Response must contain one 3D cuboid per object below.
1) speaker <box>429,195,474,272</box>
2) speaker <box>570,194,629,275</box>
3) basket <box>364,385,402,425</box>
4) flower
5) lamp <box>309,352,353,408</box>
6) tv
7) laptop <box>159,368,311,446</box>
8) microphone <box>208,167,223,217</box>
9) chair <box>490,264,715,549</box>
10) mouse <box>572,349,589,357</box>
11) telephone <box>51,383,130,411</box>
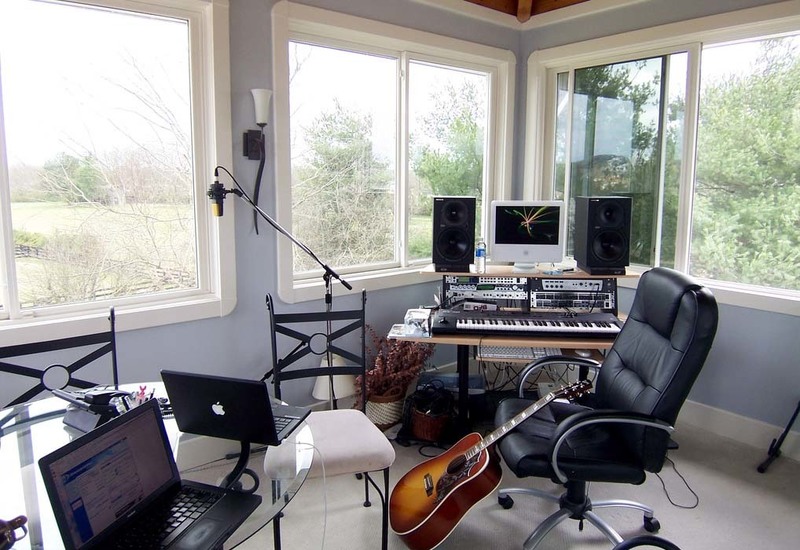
[{"bbox_3d":[0.367,-0.297,4.110,0.301,0.519,0.179,-1,13,4],"label":"speaker"},{"bbox_3d":[1.387,-0.286,4.050,0.364,0.528,0.284,2,13,19],"label":"speaker"},{"bbox_3d":[-0.113,0.927,4.176,0.276,0.255,0.270,-3,3,-45],"label":"basket"},{"bbox_3d":[-0.119,0.668,4.240,0.597,0.641,0.564,11,0,11],"label":"flower"},{"bbox_3d":[-0.482,0.740,4.095,0.377,0.278,0.339,1,-1,-8],"label":"lamp"},{"bbox_3d":[0.891,-0.298,4.127,0.508,0.477,0.174,1,7,5],"label":"tv"},{"bbox_3d":[-0.755,0.526,2.585,0.524,0.347,0.346,5,13,8],"label":"laptop"},{"bbox_3d":[-1.137,-0.504,3.572,0.101,0.313,0.368,-6,13,-17],"label":"microphone"},{"bbox_3d":[1.148,0.616,3.850,1.512,2.014,1.412,1,9,1],"label":"chair"},{"bbox_3d":[1.173,0.497,3.747,0.056,0.022,0.075,0,12,10],"label":"mouse"},{"bbox_3d":[-1.366,0.547,2.616,0.181,0.046,0.177,-4,4,-42],"label":"telephone"}]
